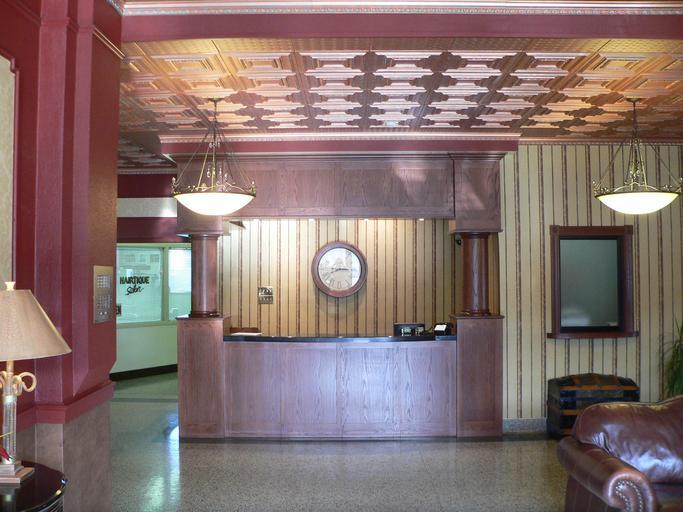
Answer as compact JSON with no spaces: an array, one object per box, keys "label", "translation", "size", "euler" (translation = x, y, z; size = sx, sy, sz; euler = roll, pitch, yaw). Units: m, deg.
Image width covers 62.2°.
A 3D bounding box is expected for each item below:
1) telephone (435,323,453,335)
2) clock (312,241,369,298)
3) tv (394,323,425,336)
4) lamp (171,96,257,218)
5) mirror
[{"label":"telephone","translation":[1.245,0.906,6.932],"size":[0.180,0.167,0.134],"euler":[-5,-30,29]},{"label":"clock","translation":[-0.017,0.202,8.174],"size":[0.855,0.796,0.091],"euler":[1,0,24]},{"label":"tv","translation":[0.842,0.911,6.994],"size":[0.363,0.130,0.262],"euler":[0,2,3]},{"label":"lamp","translation":[-1.401,-1.119,6.364],"size":[1.114,1.448,1.060],"euler":[1,-9,-6]},{"label":"mirror","translation":[3.104,0.366,7.124],"size":[1.544,1.654,0.393],"euler":[0,-2,-3]}]
